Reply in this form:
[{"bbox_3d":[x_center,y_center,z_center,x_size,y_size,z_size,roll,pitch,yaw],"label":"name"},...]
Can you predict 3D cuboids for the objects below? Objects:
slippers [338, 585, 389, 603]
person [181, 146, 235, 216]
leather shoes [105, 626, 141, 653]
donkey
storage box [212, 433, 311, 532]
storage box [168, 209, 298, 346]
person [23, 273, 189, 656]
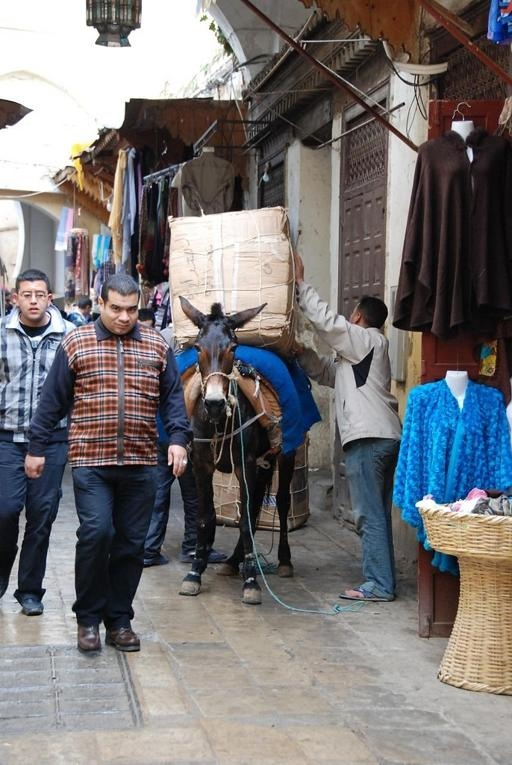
[{"bbox_3d":[0.601,1.176,4.458,0.282,0.111,0.097,4,-32,4],"label":"slippers"},{"bbox_3d":[-0.511,-2.241,9.010,0.302,0.908,1.248,2,2,12],"label":"person"},{"bbox_3d":[-0.556,1.069,3.370,0.068,0.076,0.172,1,-5,-34],"label":"leather shoes"},{"bbox_3d":[-0.148,0.367,4.536,0.559,1.647,1.201,2,2,2],"label":"donkey"},{"bbox_3d":[0.078,0.880,6.613,0.903,0.899,0.589,0,-4,5],"label":"storage box"},{"bbox_3d":[-0.129,-0.561,4.975,0.771,0.756,0.795,-3,-4,1],"label":"storage box"},{"bbox_3d":[-0.605,0.332,3.366,0.692,1.562,0.380,1,2,-17],"label":"person"}]
